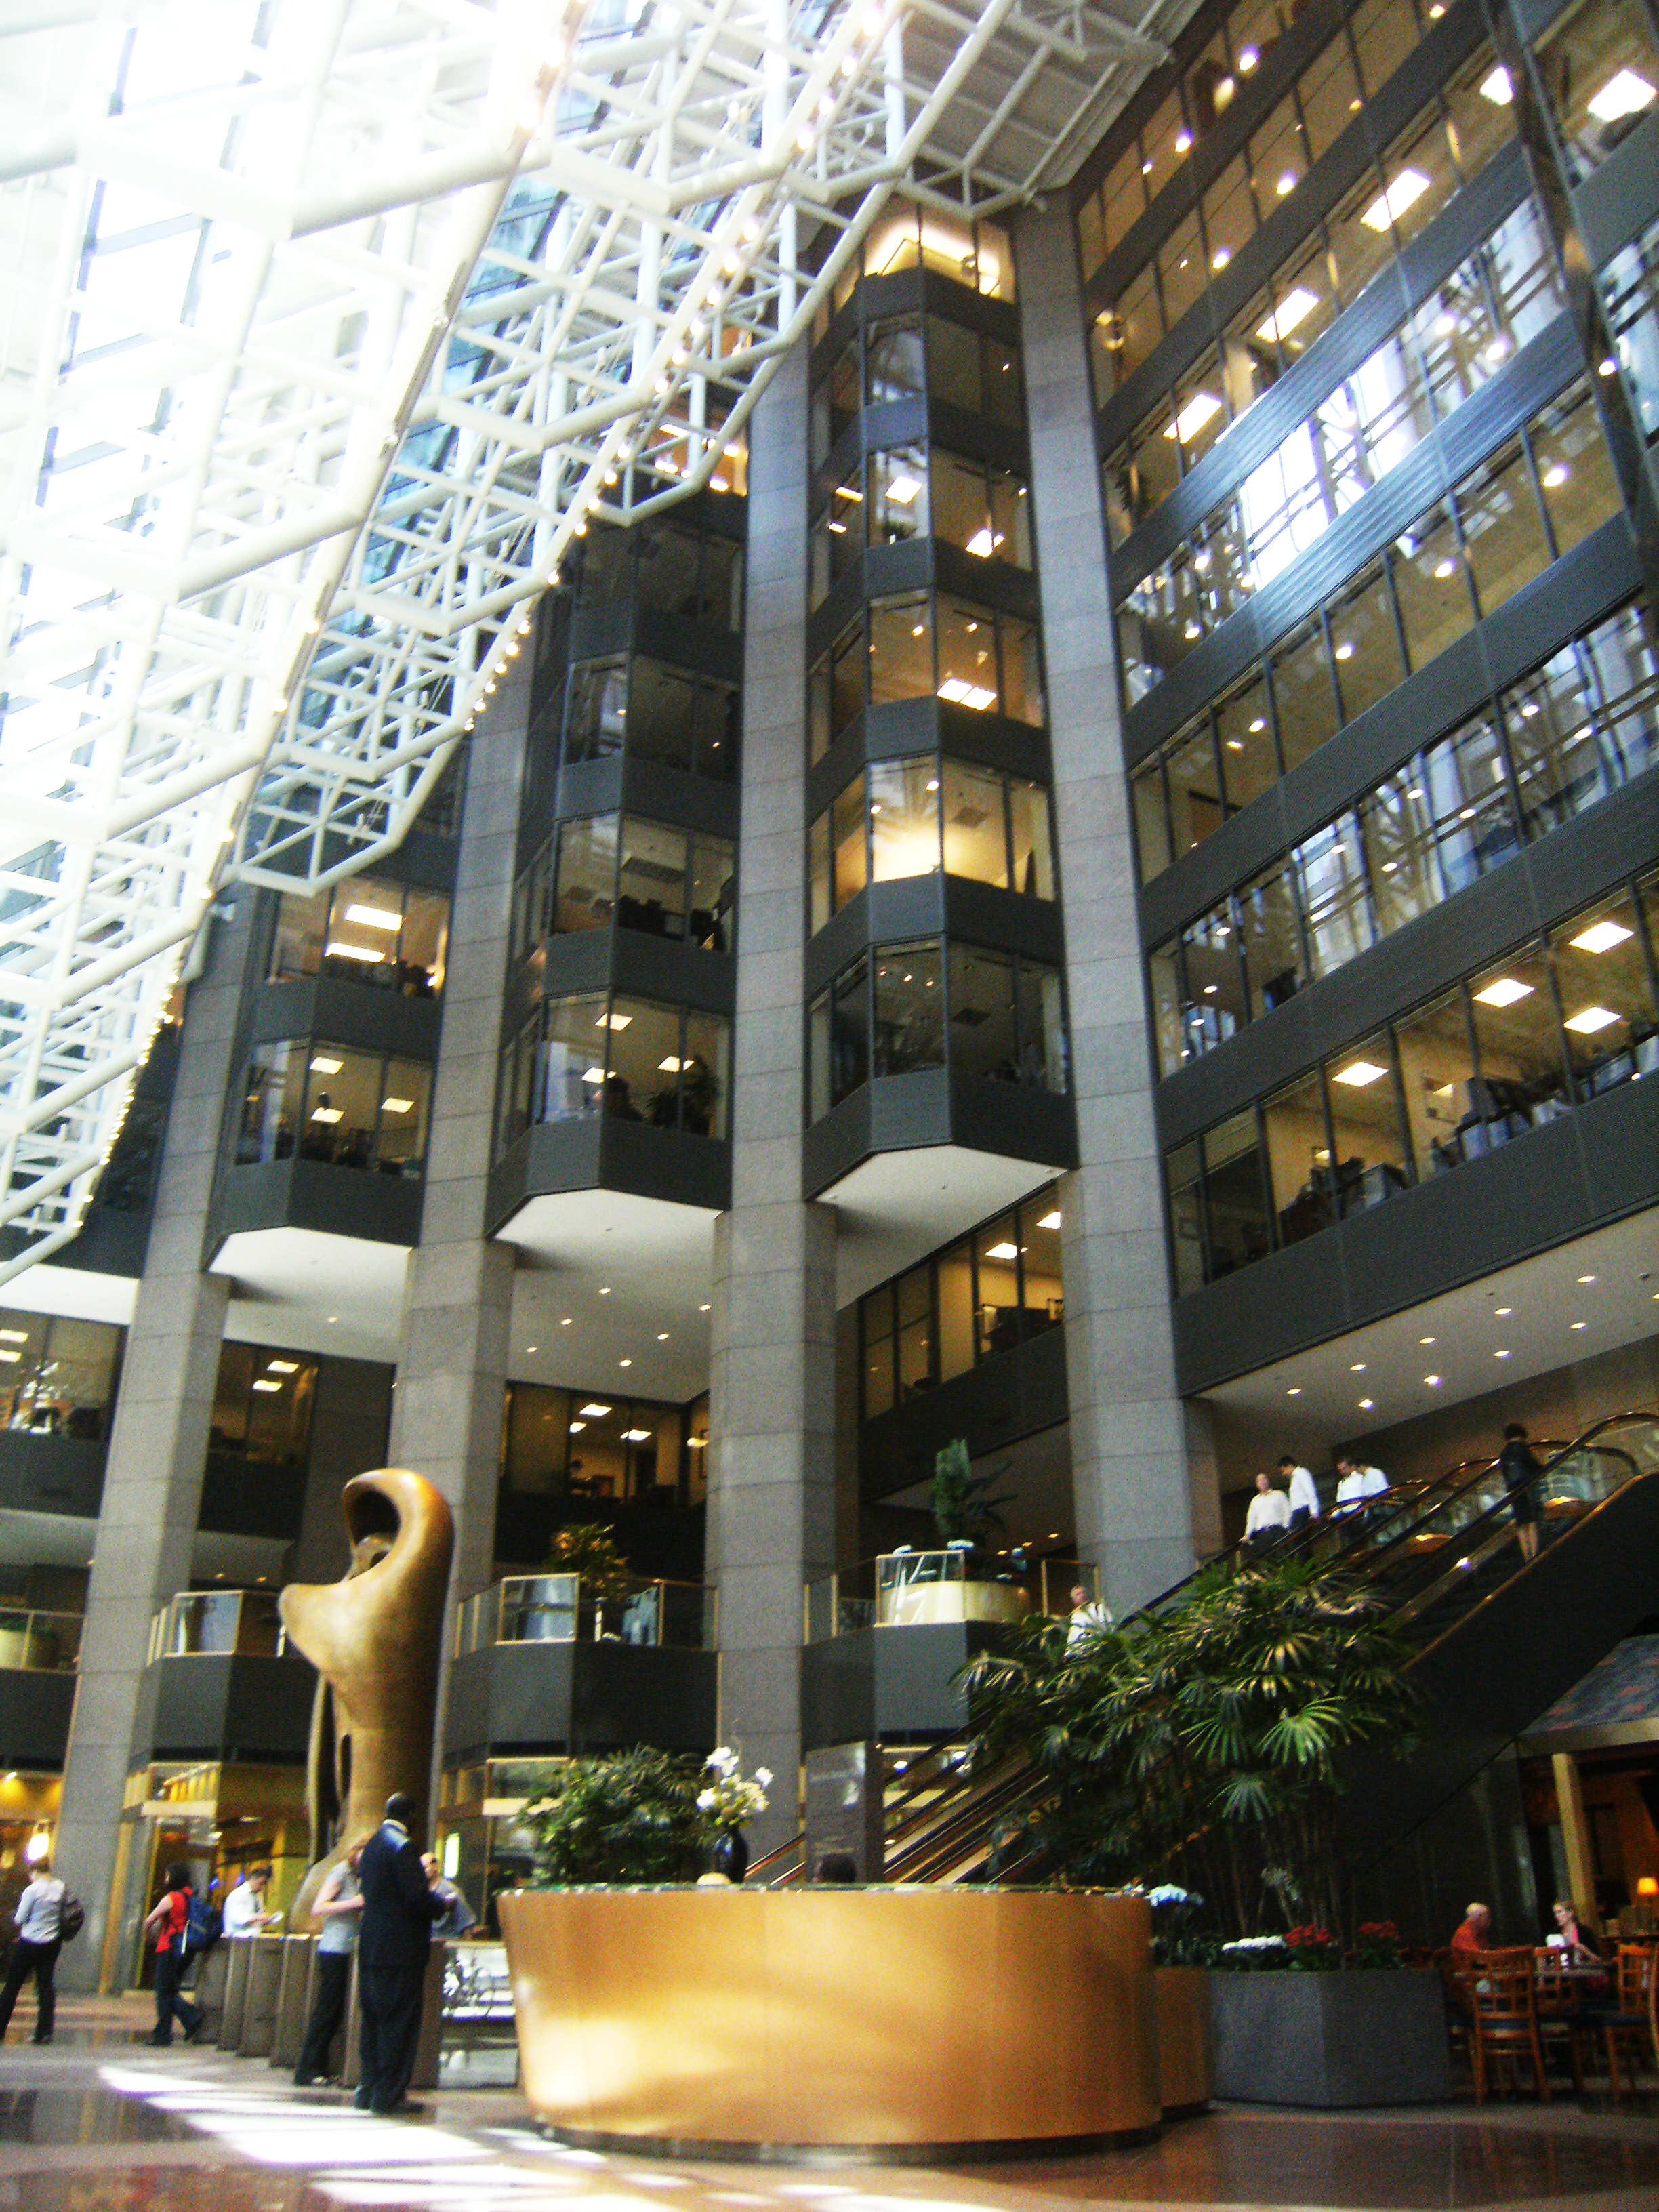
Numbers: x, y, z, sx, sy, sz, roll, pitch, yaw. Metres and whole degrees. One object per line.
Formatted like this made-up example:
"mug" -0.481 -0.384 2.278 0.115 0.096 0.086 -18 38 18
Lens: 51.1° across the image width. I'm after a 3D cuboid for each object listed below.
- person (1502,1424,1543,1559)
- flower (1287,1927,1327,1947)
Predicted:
"person" 6.461 3.637 16.075 0.369 1.218 1.083 -8 -26 20
"flower" 2.957 5.122 10.691 0.136 0.131 0.134 20 -30 -36
